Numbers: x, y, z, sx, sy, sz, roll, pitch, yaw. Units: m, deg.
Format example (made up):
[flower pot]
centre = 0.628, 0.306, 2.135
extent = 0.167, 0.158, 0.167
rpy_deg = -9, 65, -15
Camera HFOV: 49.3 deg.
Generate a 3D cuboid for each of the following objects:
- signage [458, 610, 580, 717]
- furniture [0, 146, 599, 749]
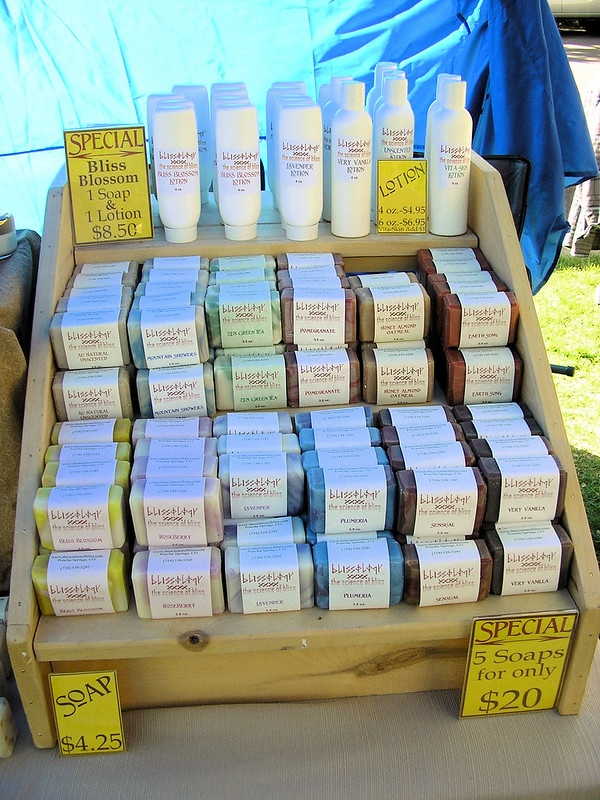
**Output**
[signage]
centre = 0.325, 0.382, 0.961
extent = 0.194, 0.222, 0.009
rpy_deg = -2, 29, -5
[furniture]
centre = 0.006, 0.071, 1.094
extent = 0.868, 0.571, 0.877
rpy_deg = 0, 24, 3
